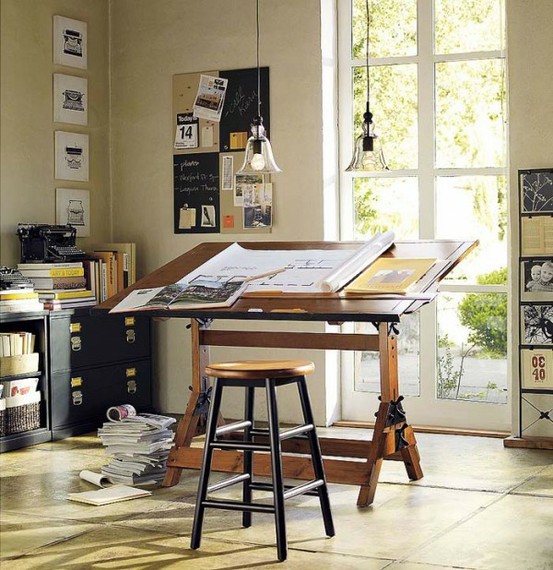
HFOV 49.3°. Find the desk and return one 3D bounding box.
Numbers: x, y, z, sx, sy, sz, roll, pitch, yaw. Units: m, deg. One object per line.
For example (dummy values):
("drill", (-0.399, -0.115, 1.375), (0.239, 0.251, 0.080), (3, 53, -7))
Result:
("desk", (0.094, 0.359, 2.949), (1.942, 1.252, 1.228), (-2, -4, 21))

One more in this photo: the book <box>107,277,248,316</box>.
("book", (-0.448, 0.039, 2.760), (0.691, 0.177, 0.305), (-3, -4, 26))

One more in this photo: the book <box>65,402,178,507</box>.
("book", (-0.743, 0.819, 2.892), (0.334, 0.182, 0.426), (3, 3, 24))

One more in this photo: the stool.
("stool", (-0.037, 0.607, 2.288), (0.498, 0.654, 0.996), (-2, -4, 5))

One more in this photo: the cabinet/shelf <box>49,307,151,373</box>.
("cabinet/shelf", (-1.238, 0.385, 4.136), (0.490, 0.342, 0.813), (0, -1, 37))
